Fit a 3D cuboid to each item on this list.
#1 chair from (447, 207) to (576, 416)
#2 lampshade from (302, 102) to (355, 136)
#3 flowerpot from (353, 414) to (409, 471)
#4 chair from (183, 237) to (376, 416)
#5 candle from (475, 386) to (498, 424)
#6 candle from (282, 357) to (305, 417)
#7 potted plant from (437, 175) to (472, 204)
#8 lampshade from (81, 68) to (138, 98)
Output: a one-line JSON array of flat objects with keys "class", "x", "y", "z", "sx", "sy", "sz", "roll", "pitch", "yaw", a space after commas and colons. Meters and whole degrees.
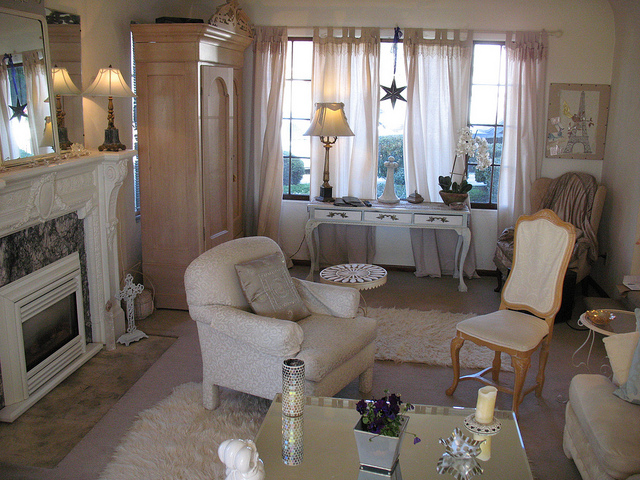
[{"class": "chair", "x": 1.311, "y": 0.436, "z": 3.334, "sx": 0.677, "sy": 1.241, "sz": 0.856, "roll": 7, "pitch": 16, "yaw": 28}, {"class": "lampshade", "x": 0.113, "y": -1.259, "z": 5.175, "sx": 0.521, "sy": 0.327, "sz": 0.541, "roll": 5, "pitch": 10, "yaw": 32}, {"class": "flowerpot", "x": 0.276, "y": 0.860, "z": 2.149, "sx": 0.238, "sy": 0.211, "sz": 0.222, "roll": 3, "pitch": 5, "yaw": 19}, {"class": "chair", "x": -0.231, "y": 0.561, "z": 3.235, "sx": 1.174, "sy": 1.019, "sz": 1.140, "roll": 0, "pitch": 9, "yaw": 8}, {"class": "candle", "x": 0.750, "y": 0.720, "z": 2.202, "sx": 0.080, "sy": 0.172, "sz": 0.133, "roll": 5, "pitch": 15, "yaw": 19}, {"class": "candle", "x": -0.114, "y": 0.679, "z": 2.238, "sx": 0.115, "sy": 0.225, "sz": 0.117, "roll": 0, "pitch": 0, "yaw": -8}, {"class": "potted plant", "x": 1.418, "y": -0.539, "z": 5.133, "sx": 0.260, "sy": 0.219, "sz": 0.294, "roll": -5, "pitch": 12, "yaw": -20}, {"class": "lampshade", "x": -1.611, "y": -1.219, "z": 3.729, "sx": 0.381, "sy": 0.212, "sz": 0.385, "roll": 19, "pitch": 23, "yaw": 36}]
